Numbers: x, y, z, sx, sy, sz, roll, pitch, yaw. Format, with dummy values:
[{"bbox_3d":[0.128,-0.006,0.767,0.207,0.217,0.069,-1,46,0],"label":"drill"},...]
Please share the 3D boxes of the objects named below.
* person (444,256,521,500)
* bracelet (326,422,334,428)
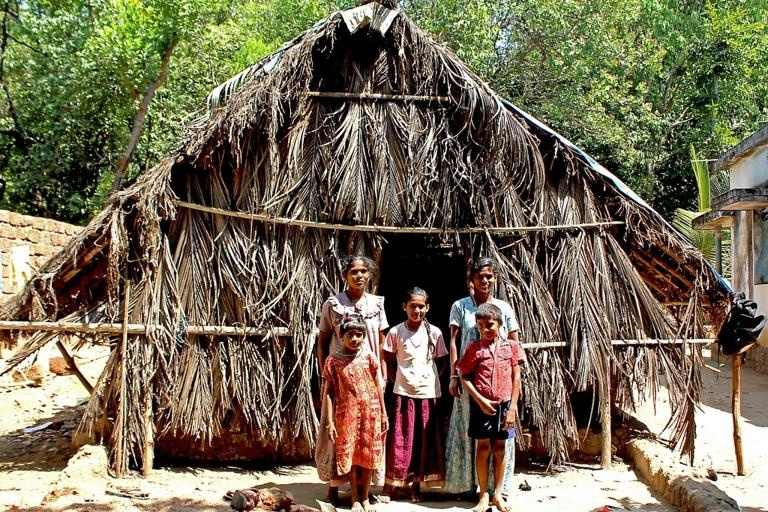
[{"bbox_3d":[1.306,1.428,10.477,0.900,2.840,0.907,0,23,10],"label":"person"},{"bbox_3d":[-0.649,2.068,9.858,0.102,0.073,0.073,2,-6,-4],"label":"bracelet"}]
